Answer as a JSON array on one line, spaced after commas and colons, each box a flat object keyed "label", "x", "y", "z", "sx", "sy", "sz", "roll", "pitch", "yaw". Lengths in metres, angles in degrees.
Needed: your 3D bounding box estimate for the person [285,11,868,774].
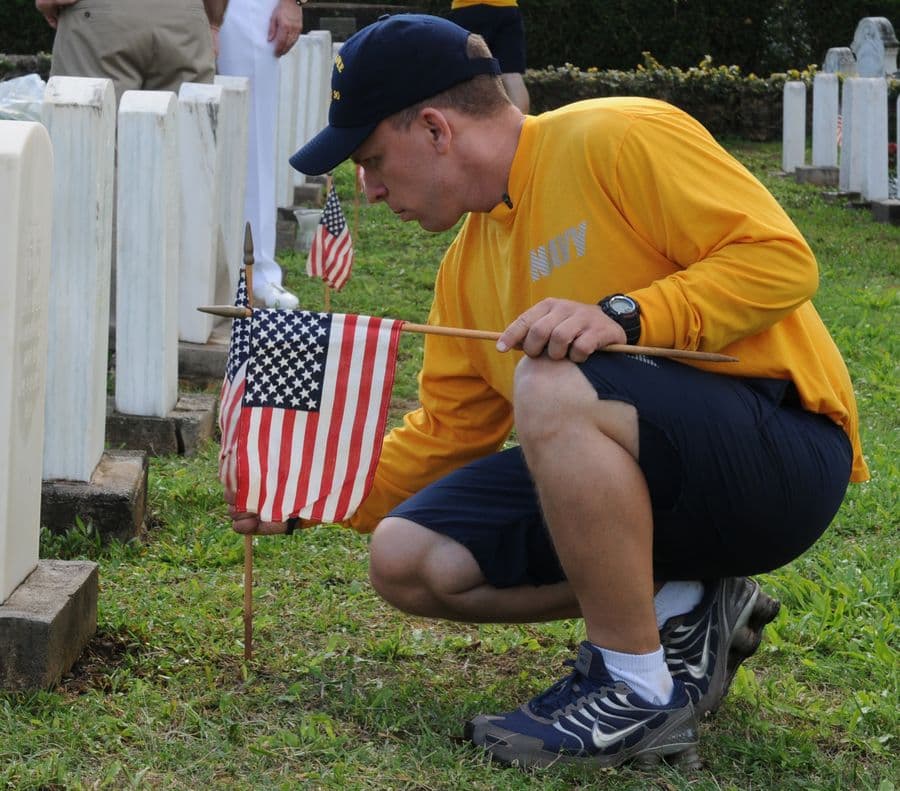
[{"label": "person", "x": 0.314, "y": -0.042, "z": 3.629, "sx": 1.180, "sy": 1.755, "sz": 0.698, "roll": 7, "pitch": 7, "yaw": 32}]
